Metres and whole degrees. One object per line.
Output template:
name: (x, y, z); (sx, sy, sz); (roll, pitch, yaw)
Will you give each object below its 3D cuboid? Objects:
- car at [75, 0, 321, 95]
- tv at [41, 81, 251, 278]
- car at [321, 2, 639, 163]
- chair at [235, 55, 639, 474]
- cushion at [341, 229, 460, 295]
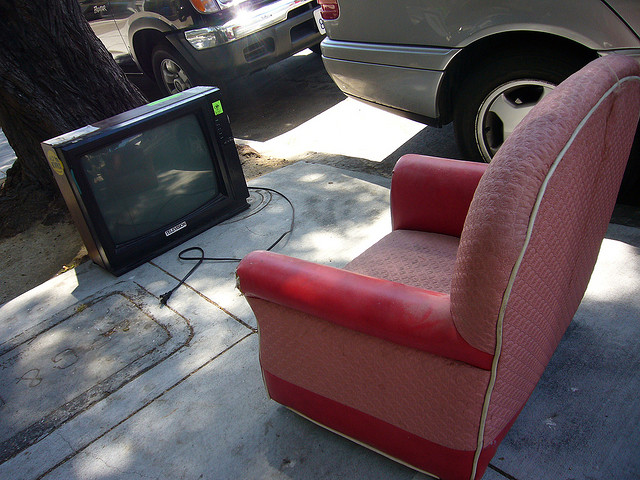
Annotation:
car: (-1.517, -2.222, 5.723); (2.609, 1.180, 1.592); (24, 51, 32)
tv: (-1.315, -0.410, 3.413); (1.334, 1.155, 0.643); (-30, 44, -24)
car: (1.091, -1.230, 3.347); (1.566, 0.790, 1.710); (5, 15, 27)
chair: (0.483, 0.219, 1.774); (1.607, 1.363, 0.823); (-17, 37, -9)
cushion: (0.440, 0.088, 2.267); (0.372, 0.095, 0.348); (10, 34, 33)
